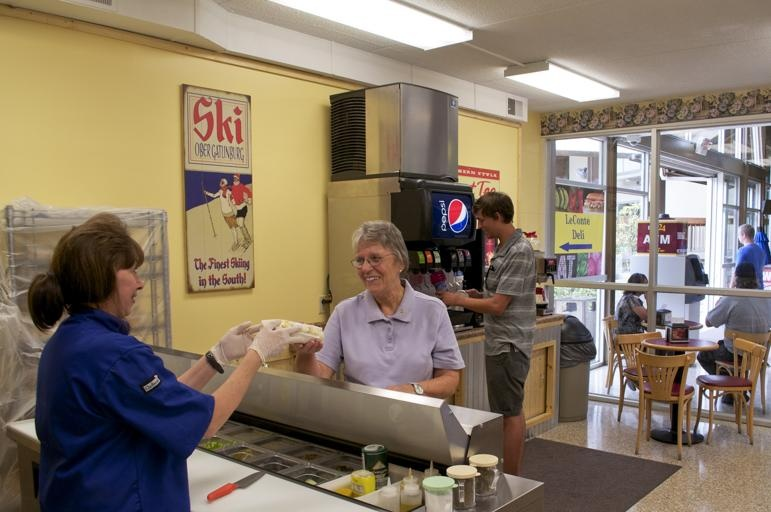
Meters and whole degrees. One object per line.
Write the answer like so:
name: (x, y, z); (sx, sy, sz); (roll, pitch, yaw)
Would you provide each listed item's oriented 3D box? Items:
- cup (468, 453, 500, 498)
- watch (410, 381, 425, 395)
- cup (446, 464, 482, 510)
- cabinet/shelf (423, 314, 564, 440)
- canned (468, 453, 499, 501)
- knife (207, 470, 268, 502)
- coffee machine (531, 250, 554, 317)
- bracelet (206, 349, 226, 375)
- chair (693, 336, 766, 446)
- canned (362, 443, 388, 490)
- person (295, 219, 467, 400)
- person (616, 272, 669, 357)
cup: (0.402, 0.912, 2.317); (0.156, 0.136, 0.100); (8, -2, 19)
watch: (0.157, 0.657, 2.818); (0.049, 0.041, 0.077); (-6, -10, -34)
cup: (0.300, 0.895, 2.279); (0.185, 0.171, 0.132); (0, -3, -10)
cabinet/shelf: (1.145, 1.144, 5.434); (0.747, 1.127, 1.236); (2, -4, 26)
canned: (0.412, 0.901, 2.305); (0.099, 0.136, 0.159); (0, 0, -27)
knife: (-0.618, 0.933, 2.336); (0.065, 0.024, 0.286); (8, 7, 29)
coffee machine: (1.567, 0.321, 5.785); (0.286, 0.606, 0.277); (1, -2, 44)
bracelet: (-0.730, 0.452, 2.426); (0.087, 0.061, 0.096); (-37, -8, -14)
chair: (3.571, 1.353, 5.854); (0.551, 0.977, 1.197); (4, 6, 34)
canned: (-0.042, 0.898, 2.428); (0.098, 0.155, 0.106); (-4, -4, 6)
person: (0.019, 0.275, 3.032); (0.771, 0.899, 0.237); (1, 5, 12)
person: (2.999, 0.600, 6.824); (0.644, 1.175, 0.630); (-2, 4, -23)
